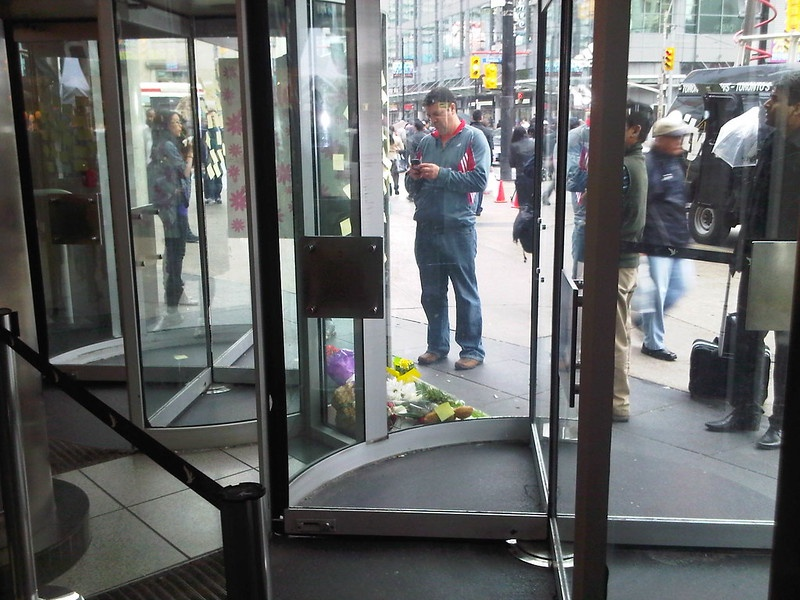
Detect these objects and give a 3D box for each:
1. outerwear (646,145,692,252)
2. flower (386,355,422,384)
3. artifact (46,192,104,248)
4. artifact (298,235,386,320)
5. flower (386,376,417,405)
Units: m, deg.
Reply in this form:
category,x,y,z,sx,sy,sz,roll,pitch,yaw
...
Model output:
category,x,y,z,sx,sy,sz,roll,pitch,yaw
outerwear,0.621,-0.238,1.678,0.030,0.223,0.126,-13,18,-41
flower,0.017,0.328,3.378,0.108,0.057,0.138,-2,22,-42
artifact,-1.971,-0.489,4.378,0.346,0.298,0.129,-4,6,4
artifact,-0.242,-0.094,2.839,0.338,0.314,0.077,3,15,5
flower,0.004,0.415,3.330,0.127,0.045,0.123,-16,59,-21
